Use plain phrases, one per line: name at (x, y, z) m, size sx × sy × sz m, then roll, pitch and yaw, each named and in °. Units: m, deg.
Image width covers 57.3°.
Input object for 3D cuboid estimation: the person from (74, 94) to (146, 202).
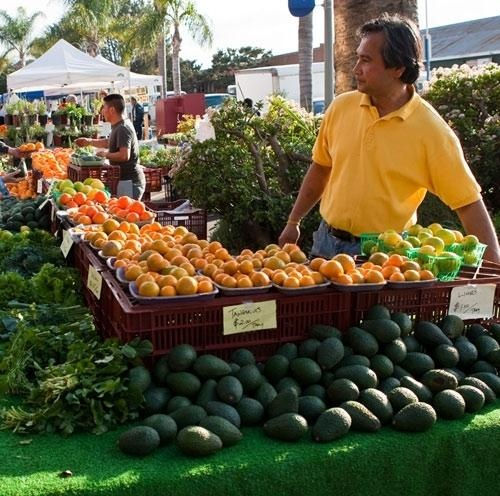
person at (-2.062, -1.453, 6.912) m, size 1.154 × 2.073 × 0.818 m, roll -2°, pitch 5°, yaw -26°
